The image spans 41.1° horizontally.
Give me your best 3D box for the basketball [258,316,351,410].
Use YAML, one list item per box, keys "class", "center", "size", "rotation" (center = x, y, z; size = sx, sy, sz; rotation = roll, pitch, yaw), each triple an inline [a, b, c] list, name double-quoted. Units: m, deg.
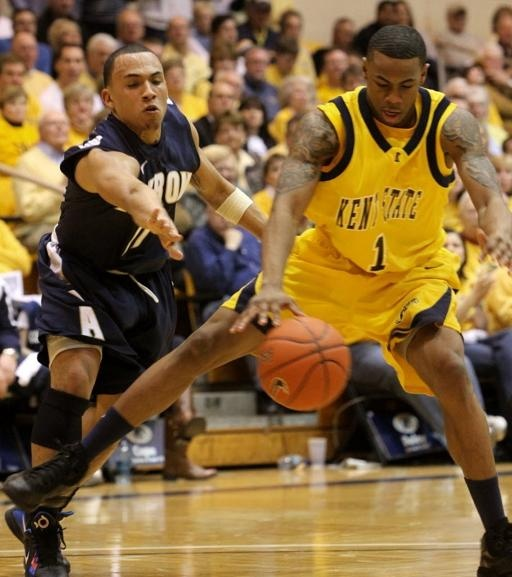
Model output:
- class: "basketball"
  center: [0.108, 0.217, 1.859]
  size: [0.218, 0.211, 0.176]
  rotation: [8, 50, 2]
